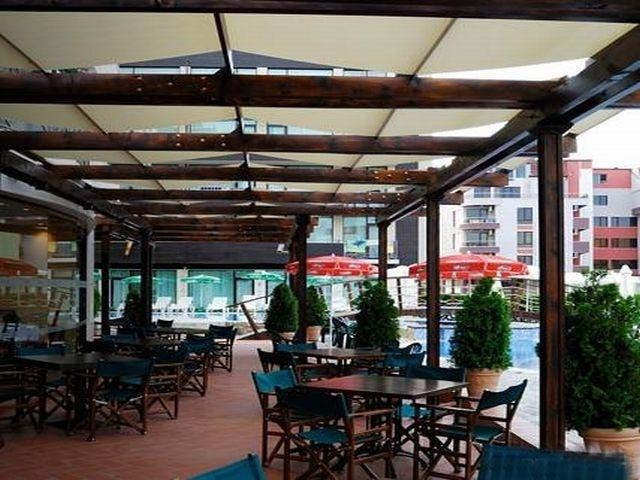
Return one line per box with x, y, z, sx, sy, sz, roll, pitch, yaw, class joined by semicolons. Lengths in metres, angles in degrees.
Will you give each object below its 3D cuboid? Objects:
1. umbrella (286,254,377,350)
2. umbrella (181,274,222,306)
0.339;1.362;14.639;3.514;2.016;2.635;1;-9;-1;umbrella
-6.022;2.564;29.439;3.091;1.813;2.320;0;-5;-7;umbrella
